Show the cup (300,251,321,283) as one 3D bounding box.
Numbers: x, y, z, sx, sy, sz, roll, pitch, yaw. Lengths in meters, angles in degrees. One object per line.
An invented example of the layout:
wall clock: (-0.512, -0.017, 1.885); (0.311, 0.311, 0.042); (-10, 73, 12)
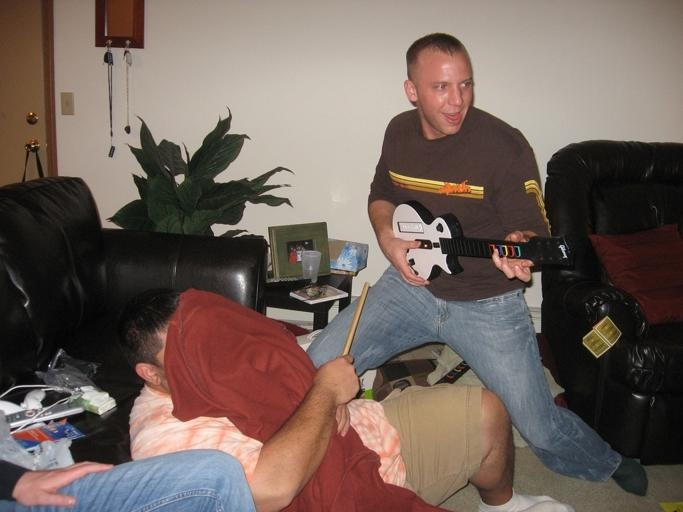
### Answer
cup: (-0.170, 0.072, 3.059); (0.118, 0.163, 0.120); (3, 7, 0)

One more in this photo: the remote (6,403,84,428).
remote: (-1.111, 0.591, 1.971); (0.178, 0.025, 0.090); (-4, 15, -29)

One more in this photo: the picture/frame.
picture/frame: (-0.247, -0.019, 3.127); (0.295, 0.302, 0.030); (-3, -5, -25)
